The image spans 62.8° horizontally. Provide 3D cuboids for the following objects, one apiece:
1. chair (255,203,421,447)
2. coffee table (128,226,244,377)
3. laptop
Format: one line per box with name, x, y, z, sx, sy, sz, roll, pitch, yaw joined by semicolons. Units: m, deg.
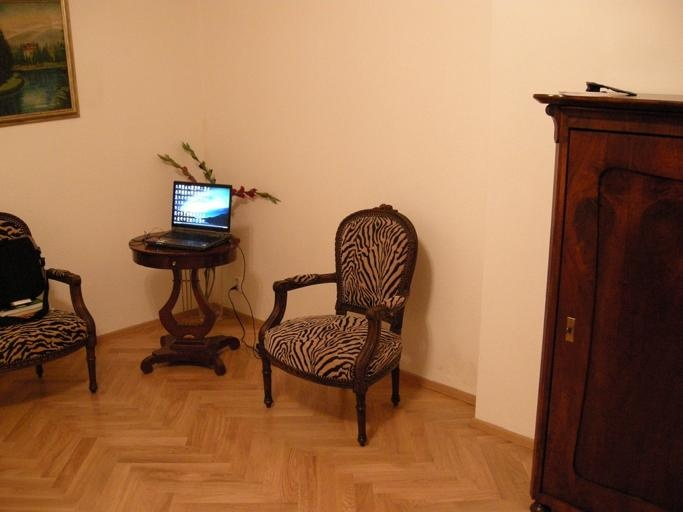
chair;0.014;0.452;3.466;0.980;1.559;0.967;11;17;35
coffee table;-1.076;0.264;4.149;0.878;1.166;0.911;-1;16;-8
laptop;-1.000;-0.276;3.883;0.533;0.436;0.459;8;16;18
